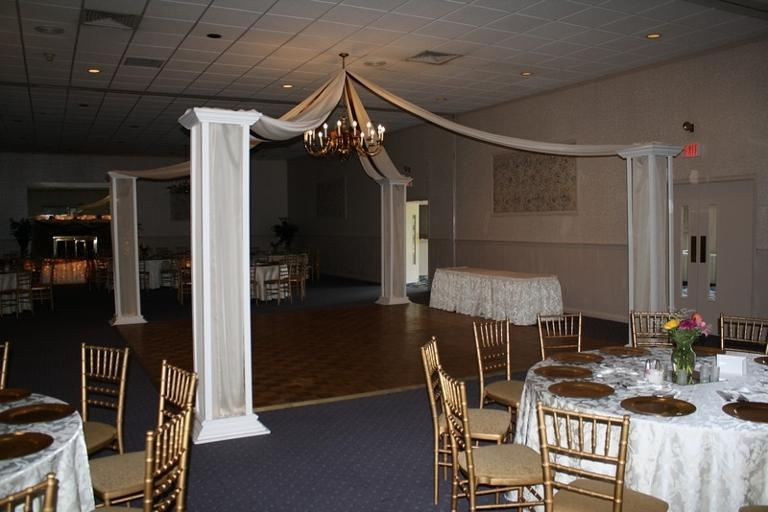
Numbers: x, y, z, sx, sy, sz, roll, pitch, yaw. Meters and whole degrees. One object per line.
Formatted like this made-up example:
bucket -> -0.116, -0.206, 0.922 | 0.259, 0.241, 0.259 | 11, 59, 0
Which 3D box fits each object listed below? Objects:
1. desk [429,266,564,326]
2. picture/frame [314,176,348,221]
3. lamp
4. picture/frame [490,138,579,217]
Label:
desk -> 1.988, 0.766, 9.979 | 0.961, 1.008, 2.647 | -5, 2, -42
picture/frame -> -1.775, -2.001, 17.344 | 0.078, 1.177, 1.723 | -5, 6, -31
lamp -> -0.671, -2.567, 8.579 | 1.432, 1.749, 1.405 | -2, 7, -9
picture/frame -> 3.044, -1.550, 10.091 | 0.091, 1.025, 1.747 | -4, 7, -33
